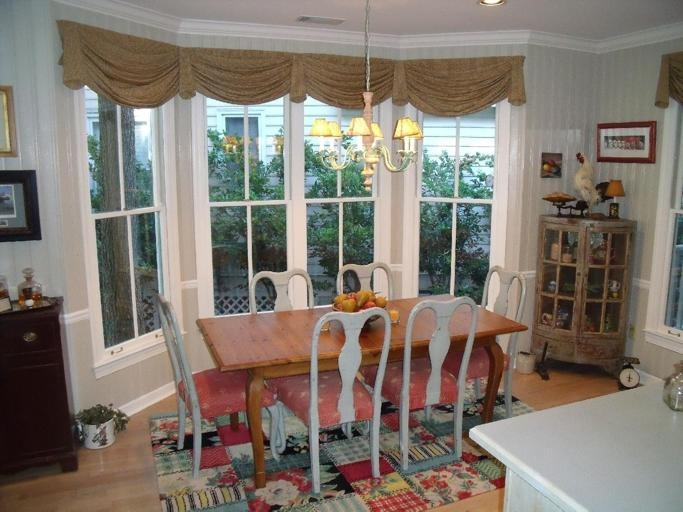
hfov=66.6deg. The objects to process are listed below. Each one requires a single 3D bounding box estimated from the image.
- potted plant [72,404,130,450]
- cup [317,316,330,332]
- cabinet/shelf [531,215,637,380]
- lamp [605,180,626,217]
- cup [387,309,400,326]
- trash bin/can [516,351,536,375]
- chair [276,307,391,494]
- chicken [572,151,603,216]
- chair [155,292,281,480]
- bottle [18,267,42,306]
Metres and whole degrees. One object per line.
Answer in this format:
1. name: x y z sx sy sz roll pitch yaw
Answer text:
1. potted plant: -1.794 1.272 3.919 0.359 0.262 0.263 -4 16 -20
2. cup: -0.108 0.474 3.620 0.094 0.124 0.127 -4 2 -3
3. cabinet/shelf: 2.349 0.349 5.068 0.840 1.461 0.529 4 11 31
4. lamp: 2.597 -0.539 4.909 0.133 0.356 0.330 2 10 29
5. cup: 0.393 0.459 3.915 0.106 0.123 0.106 -1 5 0
6. trash bin/can: 1.790 1.039 5.043 0.191 0.187 0.189 -11 20 -32
7. chair: -0.067 0.916 3.551 0.825 1.210 0.653 -4 9 -1
8. chicken: 2.396 -0.717 5.039 0.242 0.592 0.464 1 10 25
9. chair: -0.939 0.850 3.636 0.562 1.236 0.505 -5 9 -11
10. bottle: -2.183 0.231 3.608 0.158 0.265 0.159 -6 -3 0
